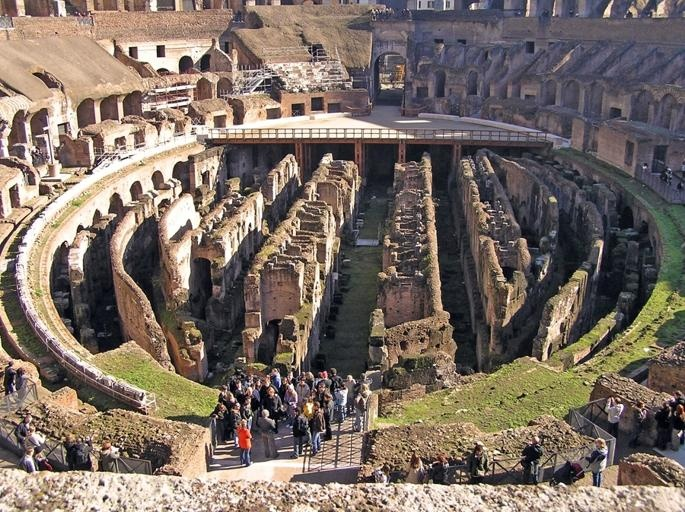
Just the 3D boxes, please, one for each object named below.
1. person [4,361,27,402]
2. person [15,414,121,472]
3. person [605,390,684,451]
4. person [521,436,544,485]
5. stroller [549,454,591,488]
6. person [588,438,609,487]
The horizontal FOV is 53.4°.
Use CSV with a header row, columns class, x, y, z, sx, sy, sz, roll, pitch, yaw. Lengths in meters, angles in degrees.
class,x,y,z,sx,sy,sz,roll,pitch,yaw
person,-9.016,3.451,18.764,0.582,0.751,1.208,-11,20,-29
person,-6.412,4.504,16.171,1.586,0.396,1.565,2,48,-15
person,7.488,4.090,16.896,1.776,1.290,0.641,8,19,27
person,4.235,4.609,15.293,0.415,0.940,0.490,3,17,15
stroller,5.176,4.899,15.501,0.765,0.505,0.529,0,6,-3
person,5.806,4.682,15.566,0.377,1.273,0.788,6,18,22
